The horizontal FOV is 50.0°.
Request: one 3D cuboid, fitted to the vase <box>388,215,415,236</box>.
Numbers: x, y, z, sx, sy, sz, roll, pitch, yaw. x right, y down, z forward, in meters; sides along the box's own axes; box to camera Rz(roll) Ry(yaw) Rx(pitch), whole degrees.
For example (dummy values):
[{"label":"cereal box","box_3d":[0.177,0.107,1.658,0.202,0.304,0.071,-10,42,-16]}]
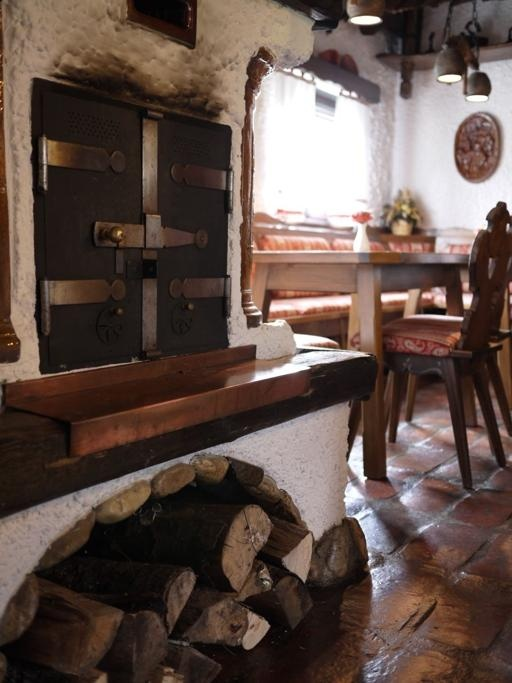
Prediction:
[{"label":"vase","box_3d":[1.750,-1.340,6.517,0.270,0.267,0.272,-1,10,-6]}]
